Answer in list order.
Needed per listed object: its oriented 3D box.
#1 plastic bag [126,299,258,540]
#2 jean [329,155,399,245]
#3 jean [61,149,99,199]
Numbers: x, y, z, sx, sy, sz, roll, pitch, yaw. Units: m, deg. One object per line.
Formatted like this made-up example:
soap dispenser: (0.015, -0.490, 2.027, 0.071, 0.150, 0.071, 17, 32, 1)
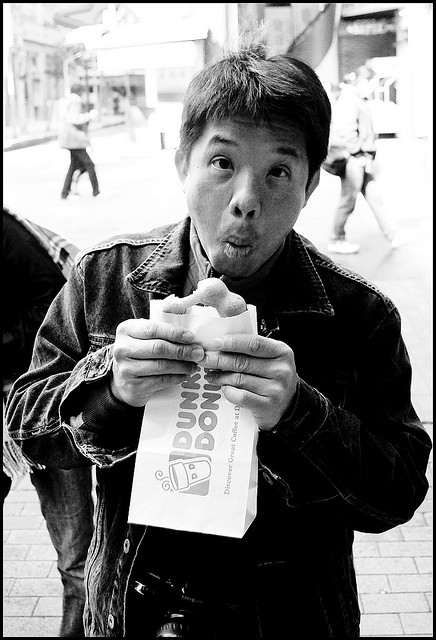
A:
plastic bag: (-0.041, 0.172, 1.013, 0.306, 0.249, 0.373, 6, 42, 0)
jean: (0.613, -0.597, 2.638, 0.297, 0.464, 0.125, -31, 51, -7)
jean: (-0.657, -0.686, 2.642, 0.177, 0.217, 0.029, -3, 20, -1)
